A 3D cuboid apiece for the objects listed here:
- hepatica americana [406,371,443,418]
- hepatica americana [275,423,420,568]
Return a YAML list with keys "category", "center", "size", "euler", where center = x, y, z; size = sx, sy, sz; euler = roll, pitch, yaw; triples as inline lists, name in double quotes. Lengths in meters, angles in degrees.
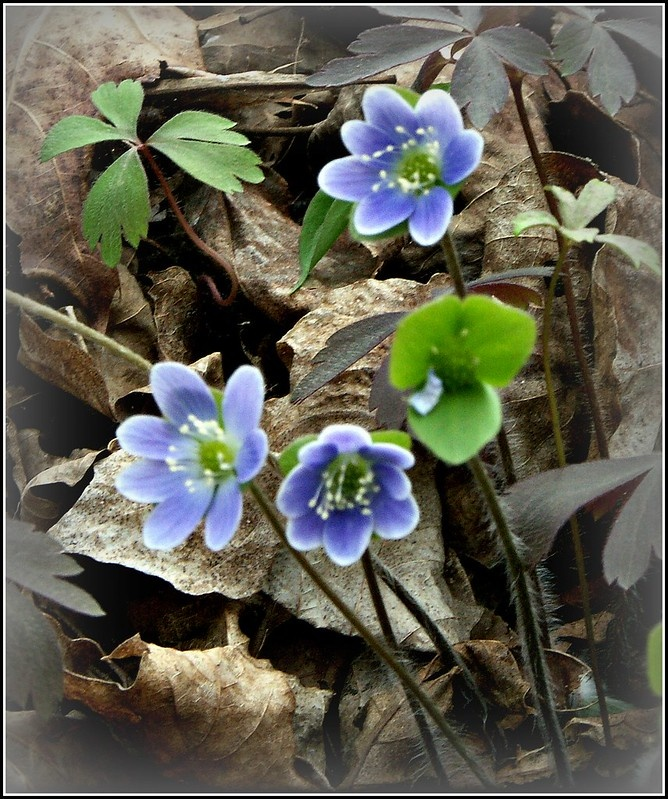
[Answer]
- category: "hepatica americana"
  center: [0.189, -0.008, 1.878]
  size: [0.055, 0.021, 0.096]
  euler: [34, 68, 12]
- category: "hepatica americana"
  center: [0.020, 0.257, 2.105]
  size: [0.287, 0.535, 0.260]
  euler: [-17, 70, -9]
